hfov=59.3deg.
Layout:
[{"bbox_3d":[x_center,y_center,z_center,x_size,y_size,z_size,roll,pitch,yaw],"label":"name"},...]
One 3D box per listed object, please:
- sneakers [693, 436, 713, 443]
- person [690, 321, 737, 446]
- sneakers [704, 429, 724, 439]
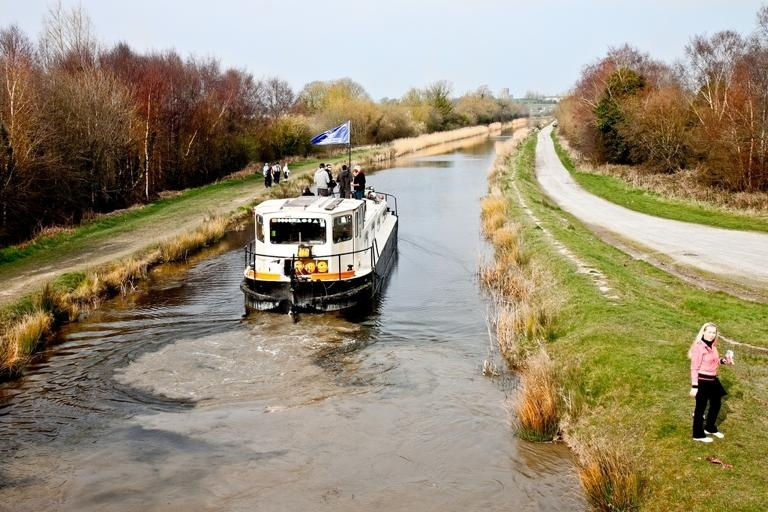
[{"bbox_3d":[9.195,5.276,19.425,0.491,0.224,0.196,-4,3,9],"label":"sneakers"},{"bbox_3d":[9.301,3.613,19.387,0.947,3.350,0.843,0,12,8],"label":"person"},{"bbox_3d":[9.557,5.139,19.523,0.501,0.154,0.218,6,37,14],"label":"sneakers"}]
